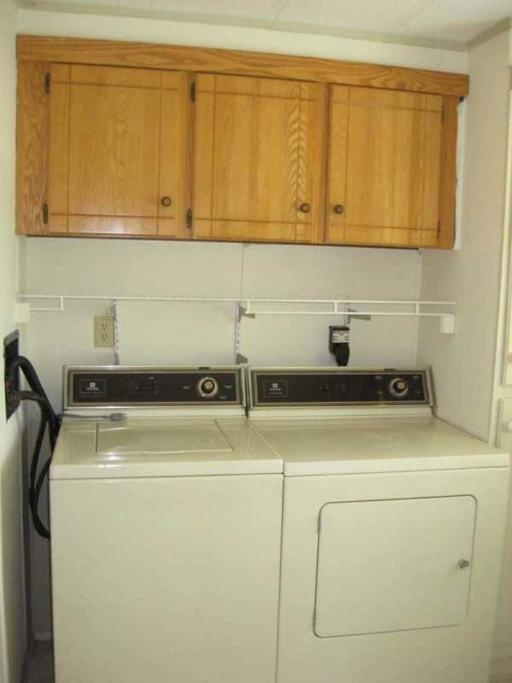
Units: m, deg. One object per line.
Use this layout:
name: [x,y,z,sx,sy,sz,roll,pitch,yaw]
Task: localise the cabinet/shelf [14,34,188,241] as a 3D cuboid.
cabinet/shelf: [-0.459,-0.647,2.021,0.584,0.602,0.344,1,11,-7]
